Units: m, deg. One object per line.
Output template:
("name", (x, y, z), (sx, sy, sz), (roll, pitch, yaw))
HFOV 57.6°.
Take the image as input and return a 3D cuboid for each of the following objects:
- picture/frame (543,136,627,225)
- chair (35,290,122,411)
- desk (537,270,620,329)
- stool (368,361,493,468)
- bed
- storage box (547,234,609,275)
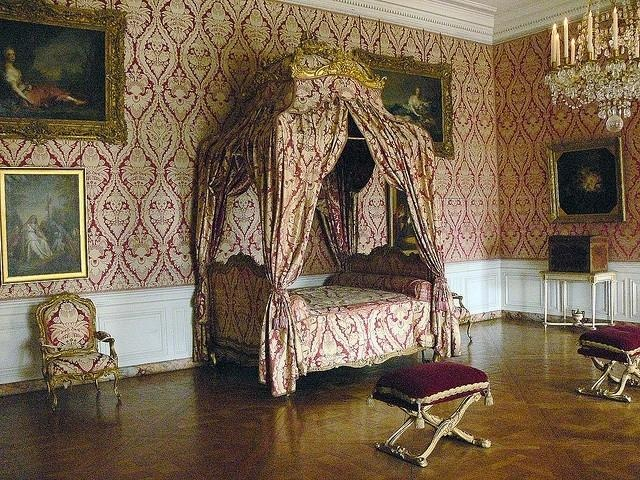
("picture/frame", (4.016, -0.898, 8.739), (0.162, 1.569, 1.275), (-3, 4, -44))
("chair", (-2.620, 1.156, 6.253), (0.699, 1.100, 0.923), (-5, 6, -31))
("desk", (3.697, 0.914, 8.803), (0.791, 0.760, 0.550), (1, -9, 9))
("stool", (0.950, 1.448, 5.006), (0.913, 0.742, 0.624), (-1, 0, -36))
("bed", (0.012, 0.765, 7.278), (2.470, 1.575, 2.042), (-3, 3, -32))
("storage box", (3.850, 0.221, 8.723), (0.433, 0.565, 0.754), (1, -1, -26))
